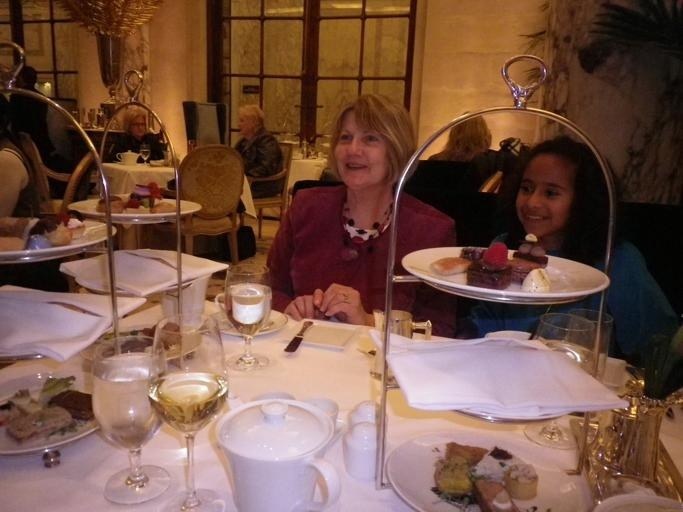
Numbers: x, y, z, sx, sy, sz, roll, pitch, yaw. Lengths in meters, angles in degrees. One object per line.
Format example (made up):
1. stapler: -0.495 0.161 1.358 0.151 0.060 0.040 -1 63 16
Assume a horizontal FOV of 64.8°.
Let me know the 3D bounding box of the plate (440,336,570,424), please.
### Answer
1. plate: 0.343 0.212 1.017 0.164 0.102 0.393 8 13 24

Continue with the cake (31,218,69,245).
1. cake: -0.611 -0.058 1.128 0.065 0.024 0.065 35 33 0

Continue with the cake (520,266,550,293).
1. cake: 0.384 0.040 1.051 0.052 0.050 0.050 -1 5 -42

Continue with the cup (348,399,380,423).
1. cup: 0.049 0.305 1.083 0.047 0.029 0.047 4 -2 0

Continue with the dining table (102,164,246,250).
1. dining table: -1.426 -0.607 4.455 0.971 0.484 0.993 6 12 28

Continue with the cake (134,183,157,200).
1. cake: -0.814 -0.263 2.236 0.071 0.034 0.074 1 6 0

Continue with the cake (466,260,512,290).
1. cake: 0.322 0.037 1.130 0.070 0.043 0.069 -6 11 -39

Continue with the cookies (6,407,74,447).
1. cookies: -0.583 0.321 1.040 0.112 0.040 0.056 -6 15 -35

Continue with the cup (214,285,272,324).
1. cup: -0.248 0.095 1.332 0.096 0.075 0.100 2 27 -1

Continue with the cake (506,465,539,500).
1. cake: 0.321 0.399 0.956 0.052 0.039 0.053 -5 3 10

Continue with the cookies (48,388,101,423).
1. cookies: -0.536 0.296 1.080 0.087 0.022 0.089 21 23 30

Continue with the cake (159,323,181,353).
1. cake: -0.313 0.148 0.977 0.044 0.048 0.043 2 2 -28

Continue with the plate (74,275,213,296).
1. plate: -0.466 0.066 1.201 0.115 0.016 0.120 9 10 18

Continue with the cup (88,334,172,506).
1. cup: -0.389 0.280 0.991 0.122 0.270 0.222 -4 14 -25
